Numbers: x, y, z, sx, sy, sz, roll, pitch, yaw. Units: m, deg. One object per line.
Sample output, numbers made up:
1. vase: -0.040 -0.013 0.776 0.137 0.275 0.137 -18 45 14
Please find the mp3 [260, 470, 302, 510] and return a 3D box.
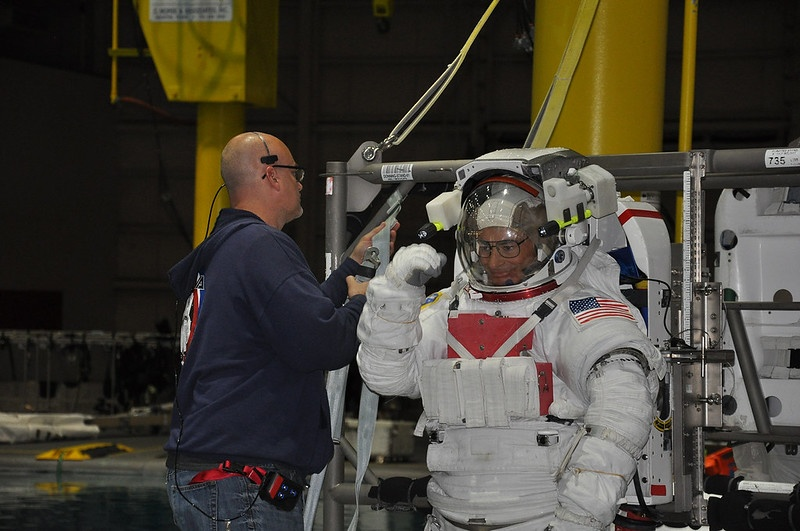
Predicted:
1. mp3: -1.343 2.487 18.188 0.101 0.349 0.448 12 -29 49
